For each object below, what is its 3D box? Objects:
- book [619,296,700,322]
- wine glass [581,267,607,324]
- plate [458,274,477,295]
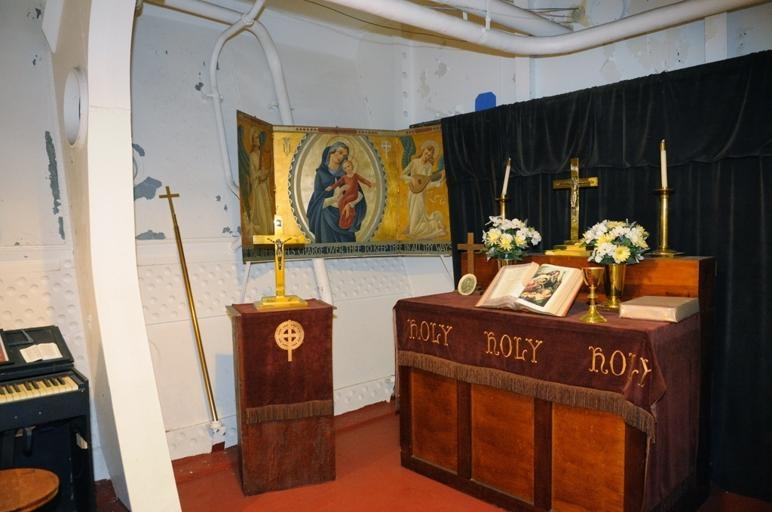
[{"bbox_3d":[2.179,0.420,4.704,0.644,0.168,0.360,-8,7,-40],"label":"book"},{"bbox_3d":[1.672,0.287,4.766,0.183,0.401,0.595,-1,6,20],"label":"wine glass"},{"bbox_3d":[0.773,0.271,5.585,0.171,0.192,0.126,-3,6,5],"label":"plate"}]
